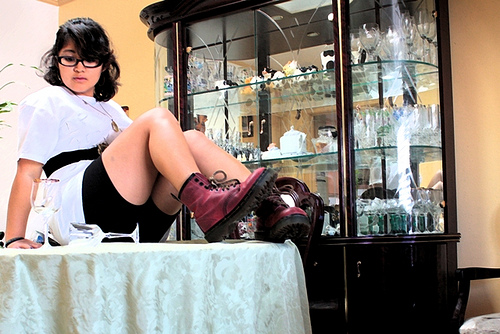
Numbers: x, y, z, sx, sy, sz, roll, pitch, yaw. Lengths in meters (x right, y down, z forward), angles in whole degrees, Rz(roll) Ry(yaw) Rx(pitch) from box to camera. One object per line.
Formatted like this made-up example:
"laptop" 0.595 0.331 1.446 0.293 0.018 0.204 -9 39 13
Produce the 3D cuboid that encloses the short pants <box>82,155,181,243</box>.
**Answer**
"short pants" -0.499 0.142 2.006 0.396 0.359 0.150 3 -7 -41

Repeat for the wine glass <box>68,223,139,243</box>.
"wine glass" -0.527 0.241 1.702 0.227 0.115 0.049 -1 -11 1

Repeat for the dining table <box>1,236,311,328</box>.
"dining table" -0.286 0.422 1.585 0.977 0.341 0.336 -2 -6 -8

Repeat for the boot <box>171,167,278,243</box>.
"boot" -0.099 0.087 1.755 0.369 0.260 0.133 -44 -12 22

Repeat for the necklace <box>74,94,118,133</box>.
"necklace" -0.739 -0.274 2.269 0.083 0.278 0.012 -39 -6 -46

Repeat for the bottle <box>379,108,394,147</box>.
"bottle" 0.769 -0.219 2.689 0.084 0.214 0.017 -2 -6 3

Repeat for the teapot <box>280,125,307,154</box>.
"teapot" 0.265 -0.164 2.927 0.153 0.228 0.158 0 -4 -5

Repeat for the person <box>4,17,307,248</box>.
"person" -0.532 -0.211 1.928 1.170 1.046 0.651 -6 -7 34

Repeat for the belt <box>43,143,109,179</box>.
"belt" -0.778 -0.042 2.117 0.257 0.072 0.150 -22 -4 -29
